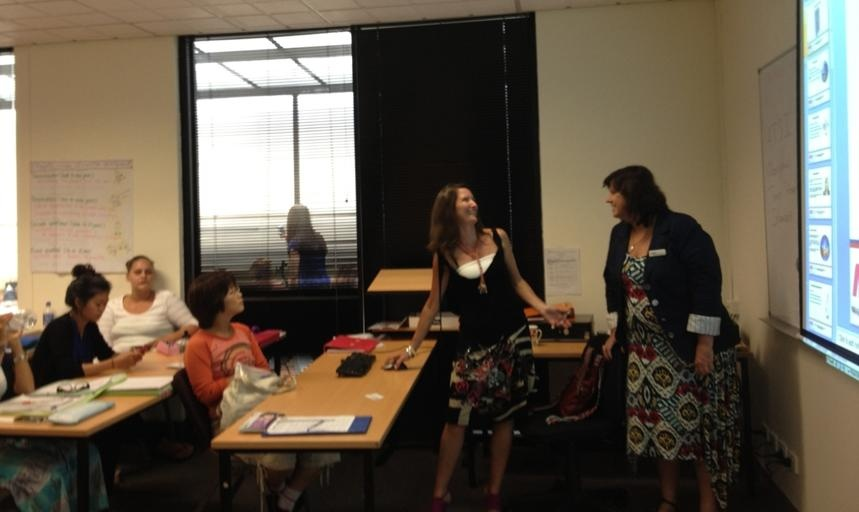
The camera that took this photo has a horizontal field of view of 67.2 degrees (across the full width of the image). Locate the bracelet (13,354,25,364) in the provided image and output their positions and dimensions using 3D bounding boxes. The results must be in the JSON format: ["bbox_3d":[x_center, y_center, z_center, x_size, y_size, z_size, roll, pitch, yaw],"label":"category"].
[{"bbox_3d":[-3.018,0.761,4.769,0.075,0.043,0.077,0,-2,-32],"label":"bracelet"}]

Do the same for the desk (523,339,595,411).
[{"bbox_3d":[1.048,0.950,5.212,0.758,0.676,0.406,0,-2,14],"label":"desk"}]

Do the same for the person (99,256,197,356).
[{"bbox_3d":[-2.693,0.463,6.138,0.972,0.905,0.542,-6,0,-6],"label":"person"}]

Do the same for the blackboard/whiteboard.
[{"bbox_3d":[2.610,-0.474,4.808,0.175,2.055,0.653,-3,4,12],"label":"blackboard/whiteboard"}]
